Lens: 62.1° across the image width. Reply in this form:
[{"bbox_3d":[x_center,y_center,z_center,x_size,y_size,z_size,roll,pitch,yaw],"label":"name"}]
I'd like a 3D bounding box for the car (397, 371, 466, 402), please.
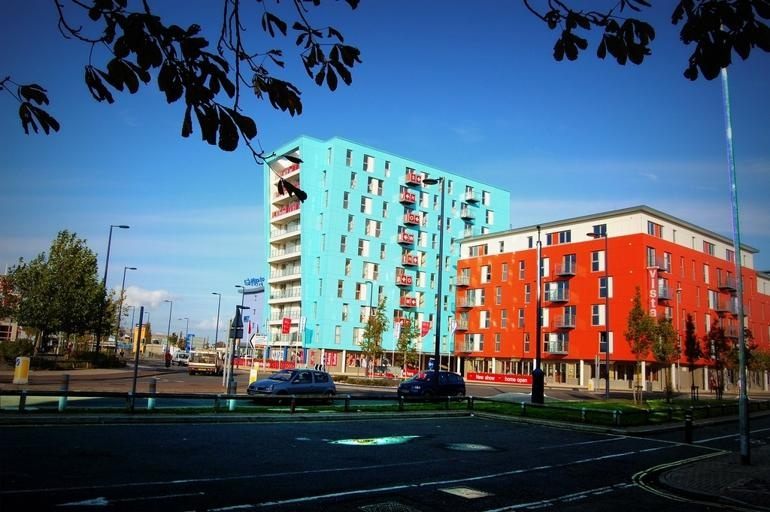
[{"bbox_3d":[3.006,7.252,35.730,3.273,1.242,1.760,10,-17,-28],"label":"car"}]

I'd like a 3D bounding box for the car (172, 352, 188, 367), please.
[{"bbox_3d":[-24.902,12.520,78.028,1.789,1.363,2.965,7,-15,-35],"label":"car"}]

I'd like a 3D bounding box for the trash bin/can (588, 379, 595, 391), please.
[{"bbox_3d":[18.485,11.387,57.088,0.618,0.994,3.693,-3,-13,17],"label":"trash bin/can"}]

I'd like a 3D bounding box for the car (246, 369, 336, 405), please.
[{"bbox_3d":[-4.278,6.016,29.775,4.100,1.632,3.146,4,-13,-11],"label":"car"}]
